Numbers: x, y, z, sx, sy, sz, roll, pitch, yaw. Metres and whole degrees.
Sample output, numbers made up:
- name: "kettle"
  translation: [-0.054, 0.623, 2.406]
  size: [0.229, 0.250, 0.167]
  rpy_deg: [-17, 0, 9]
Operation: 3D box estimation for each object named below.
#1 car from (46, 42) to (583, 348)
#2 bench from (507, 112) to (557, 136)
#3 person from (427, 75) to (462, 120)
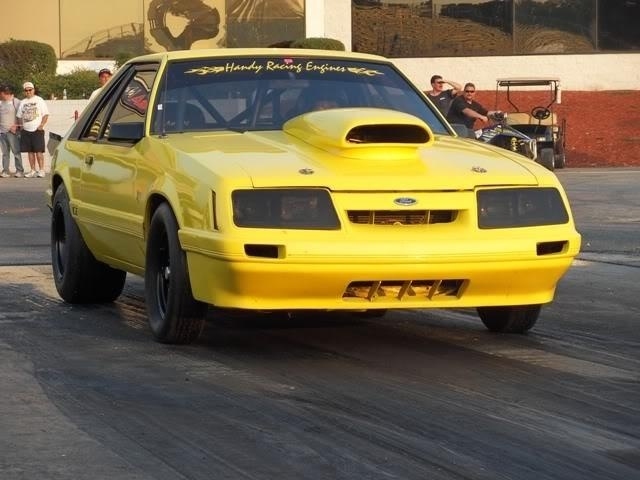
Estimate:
- name: "car"
  translation: [-0.517, -0.723, 5.481]
  size: [2.751, 1.387, 4.044]
  rpy_deg: [-4, 19, -28]
- name: "bench"
  translation: [8.126, -4.532, 26.241]
  size: [2.196, 0.740, 1.366]
  rpy_deg: [-7, 11, -24]
- name: "person"
  translation: [2.941, -3.321, 16.680]
  size: [0.881, 0.426, 1.593]
  rpy_deg: [1, -30, 22]
